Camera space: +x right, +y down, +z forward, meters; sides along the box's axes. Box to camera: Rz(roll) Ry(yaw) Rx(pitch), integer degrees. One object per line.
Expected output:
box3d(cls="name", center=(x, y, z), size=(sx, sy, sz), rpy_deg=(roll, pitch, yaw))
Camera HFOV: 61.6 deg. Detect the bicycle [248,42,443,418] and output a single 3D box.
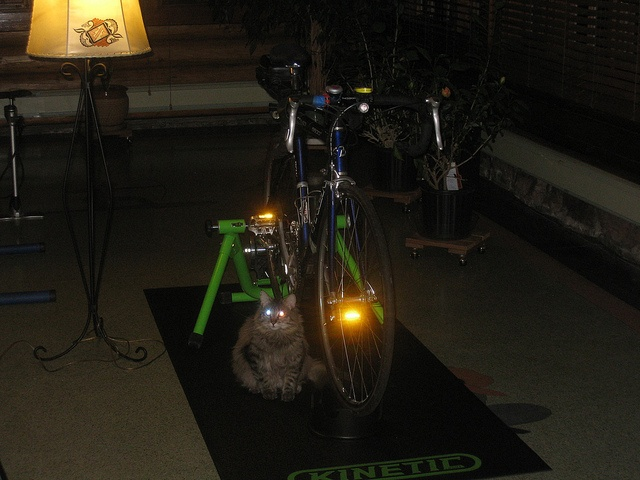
box3d(cls="bicycle", center=(-0.060, -0.137, 2.627), size=(0.522, 1.318, 2.076), rpy_deg=(1, 21, -16))
